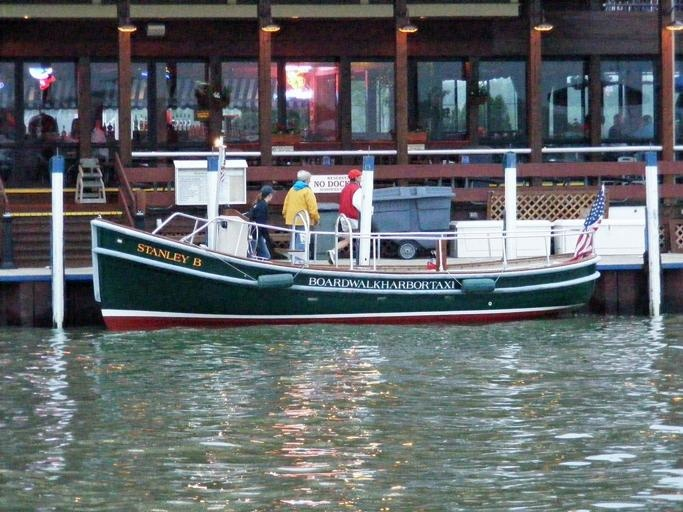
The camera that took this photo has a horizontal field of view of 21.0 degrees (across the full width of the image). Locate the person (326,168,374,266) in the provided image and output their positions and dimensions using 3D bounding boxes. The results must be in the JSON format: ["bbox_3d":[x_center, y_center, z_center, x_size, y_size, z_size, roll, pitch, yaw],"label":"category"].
[{"bbox_3d":[0.192,-0.787,37.870,0.750,1.925,1.255,4,5,29],"label":"person"}]

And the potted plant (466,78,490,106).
[{"bbox_3d":[3.194,-3.858,43.887,0.786,0.677,0.568,0,1,-9],"label":"potted plant"}]

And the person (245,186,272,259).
[{"bbox_3d":[-1.708,-0.739,37.704,0.814,1.390,0.629,11,2,12],"label":"person"}]

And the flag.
[{"bbox_3d":[4.897,-0.652,36.661,0.506,1.701,0.237,20,32,20],"label":"flag"}]

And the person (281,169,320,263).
[{"bbox_3d":[-0.729,-0.701,37.160,0.601,1.933,0.871,-5,8,-43],"label":"person"}]
